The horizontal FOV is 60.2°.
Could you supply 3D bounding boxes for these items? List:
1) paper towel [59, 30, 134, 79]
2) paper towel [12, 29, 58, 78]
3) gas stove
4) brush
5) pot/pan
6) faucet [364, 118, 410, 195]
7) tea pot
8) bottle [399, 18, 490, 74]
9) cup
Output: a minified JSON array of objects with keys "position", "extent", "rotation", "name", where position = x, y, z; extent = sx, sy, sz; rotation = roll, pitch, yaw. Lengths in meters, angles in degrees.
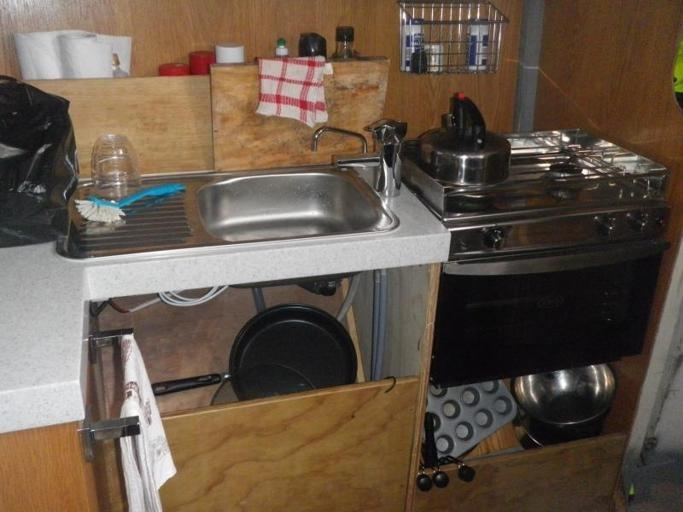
[{"position":[-0.849,-0.701,2.053],"extent":[0.242,0.153,0.081],"rotation":[-11,23,-24],"name":"paper towel"},{"position":[-1.046,-0.684,2.010],"extent":[0.168,0.151,0.069],"rotation":[1,21,6],"name":"paper towel"},{"position":[0.638,-0.246,2.027],"extent":[0.823,0.299,0.567],"rotation":[-6,21,-13],"name":"gas stove"},{"position":[-0.635,-0.170,1.840],"extent":[0.349,0.045,0.184],"rotation":[-19,27,-40],"name":"brush"},{"position":[-0.304,0.187,2.001],"extent":[0.611,0.297,0.421],"rotation":[-6,24,-26],"name":"pot/pan"},{"position":[0.151,-0.320,1.936],"extent":[0.137,0.315,0.181],"rotation":[-16,37,-16],"name":"faucet"},{"position":[0.374,-0.366,1.927],"extent":[0.294,0.325,0.349],"rotation":[-2,27,-14],"name":"tea pot"},{"position":[0.411,-0.845,2.428],"extent":[0.333,0.232,0.066],"rotation":[0,28,-5],"name":"bottle"},{"position":[-0.706,-0.287,1.907],"extent":[0.134,0.219,0.132],"rotation":[6,28,-3],"name":"cup"}]
